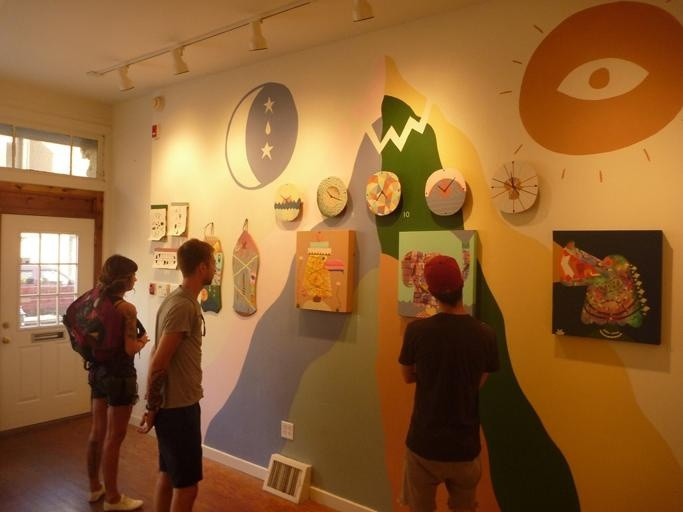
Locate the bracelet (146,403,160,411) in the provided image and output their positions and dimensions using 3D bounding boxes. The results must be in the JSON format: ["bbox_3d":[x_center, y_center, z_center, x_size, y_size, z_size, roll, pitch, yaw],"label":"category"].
[{"bbox_3d":[-1.190,0.948,3.308,0.051,0.018,0.054,2,-1,26],"label":"bracelet"}]

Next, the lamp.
[{"bbox_3d":[-1.037,-1.648,4.302,2.956,0.498,0.717,7,8,39],"label":"lamp"}]

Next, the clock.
[{"bbox_3d":[0.755,-0.477,3.773,1.233,0.409,0.078,5,6,27],"label":"clock"}]

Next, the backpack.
[{"bbox_3d":[-1.861,0.523,3.990,0.462,0.562,0.186,4,5,25],"label":"backpack"}]
